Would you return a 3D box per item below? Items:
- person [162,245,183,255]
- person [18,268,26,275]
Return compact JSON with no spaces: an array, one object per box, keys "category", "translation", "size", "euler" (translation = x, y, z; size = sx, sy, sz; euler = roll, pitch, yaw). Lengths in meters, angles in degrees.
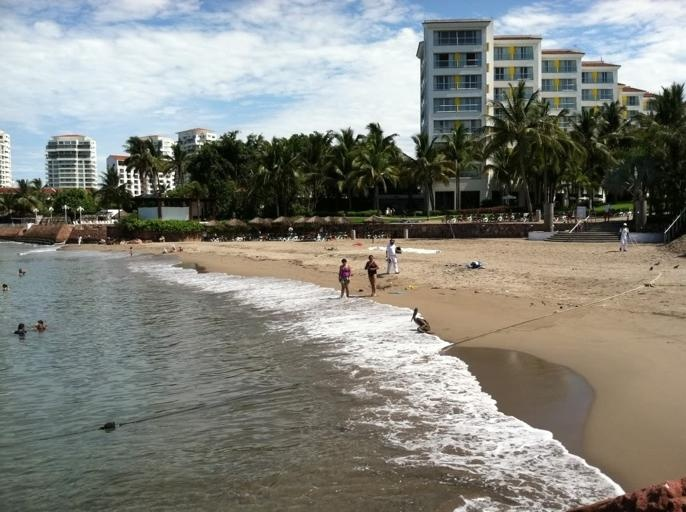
[{"category":"person","translation":[-13.536,-0.506,48.484],"size":[1.324,0.485,1.661],"euler":[0,1,-7]},{"category":"person","translation":[-18.841,0.902,35.468],"size":[0.402,0.423,1.042],"euler":[-1,-2,-11]}]
